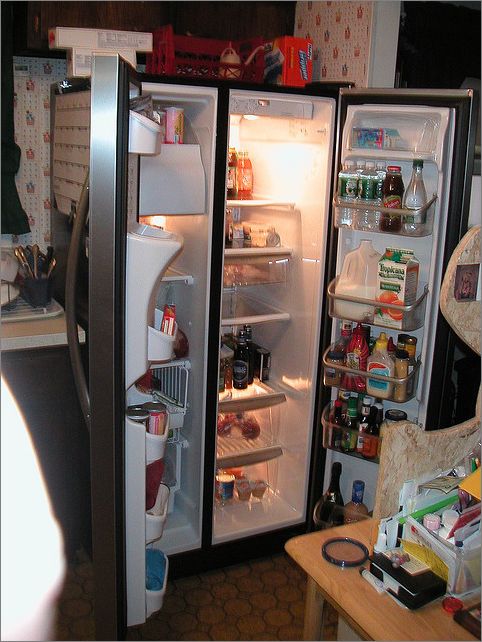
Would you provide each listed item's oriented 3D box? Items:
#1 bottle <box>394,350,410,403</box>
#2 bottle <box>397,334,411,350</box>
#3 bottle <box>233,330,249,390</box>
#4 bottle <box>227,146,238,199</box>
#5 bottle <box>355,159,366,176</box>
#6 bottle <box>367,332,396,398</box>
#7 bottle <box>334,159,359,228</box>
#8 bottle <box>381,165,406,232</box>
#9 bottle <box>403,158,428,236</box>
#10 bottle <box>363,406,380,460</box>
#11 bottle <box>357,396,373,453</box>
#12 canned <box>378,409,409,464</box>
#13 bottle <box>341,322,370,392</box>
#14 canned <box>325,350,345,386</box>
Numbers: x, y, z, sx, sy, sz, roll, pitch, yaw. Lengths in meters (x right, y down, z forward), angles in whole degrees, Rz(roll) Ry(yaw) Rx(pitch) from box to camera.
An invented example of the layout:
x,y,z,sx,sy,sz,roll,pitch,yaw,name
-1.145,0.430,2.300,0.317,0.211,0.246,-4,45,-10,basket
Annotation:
x,y,z,sx,sy,sz,roll,pitch,yaw,name
0.526,0.182,1.667,0.049,0.177,0.092,5,7,22,bottle
0.538,0.067,1.686,0.033,0.050,0.038,-4,15,-17,bottle
0.001,0.175,2.264,0.054,0.278,0.066,3,23,1,bottle
-0.040,-0.622,2.081,0.042,0.195,0.055,6,41,2,bottle
0.392,-0.497,1.664,0.034,0.054,0.042,0,18,-2,bottle
0.472,0.155,1.712,0.087,0.227,0.121,4,7,16,bottle
0.357,-0.419,1.701,0.066,0.215,0.077,3,7,9,bottle
0.469,-0.371,1.565,0.067,0.201,0.104,4,7,16,bottle
0.539,-0.372,1.558,0.071,0.218,0.190,5,8,19,bottle
0.464,0.407,1.803,0.056,0.196,0.069,4,7,17,bottle
0.453,0.390,1.846,0.047,0.206,0.051,8,0,0,bottle
0.510,0.417,1.825,0.070,0.164,0.079,7,3,-25,canned
0.406,0.118,1.794,0.102,0.299,0.069,17,45,26,bottle
0.336,0.166,1.817,0.056,0.125,0.066,-6,23,-13,canned
